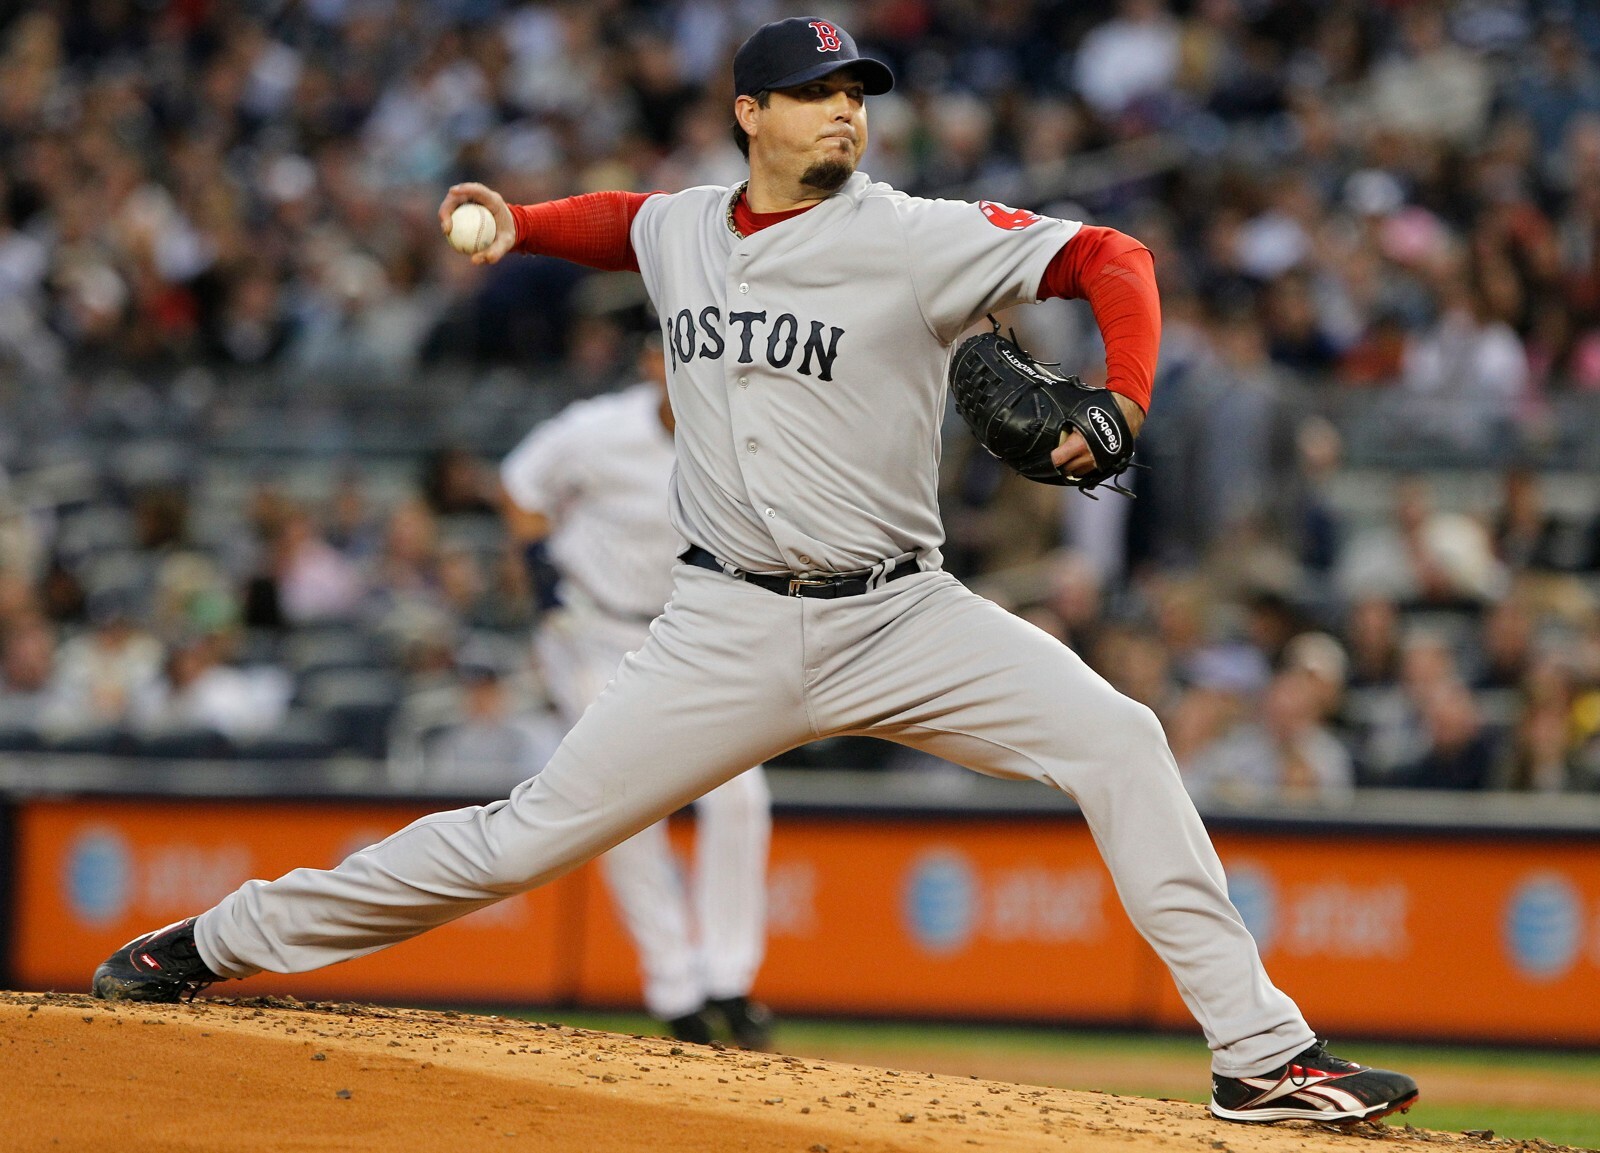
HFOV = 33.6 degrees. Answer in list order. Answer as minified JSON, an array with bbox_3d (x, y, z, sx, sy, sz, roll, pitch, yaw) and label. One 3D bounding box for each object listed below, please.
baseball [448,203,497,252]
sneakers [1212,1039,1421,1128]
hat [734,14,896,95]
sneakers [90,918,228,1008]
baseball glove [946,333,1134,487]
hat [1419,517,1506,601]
[{"bbox_3d":[-1.084,-1.175,8.885,0.155,0.150,0.152,-27,28,-36],"label":"baseball"},{"bbox_3d":[1.671,1.645,8.513,0.612,0.269,0.277,-3,-2,7],"label":"sneakers"},{"bbox_3d":[0.029,-1.695,8.698,0.383,0.184,0.294,-1,4,31],"label":"hat"},{"bbox_3d":[-2.099,1.308,9.068,0.559,0.194,0.250,-9,20,6],"label":"sneakers"},{"bbox_3d":[0.726,-0.509,8.454,0.575,0.417,0.249,38,48,22],"label":"baseball glove"},{"bbox_3d":[3.217,-0.108,12.776,0.329,0.400,0.416,-6,5,-35],"label":"hat"}]
